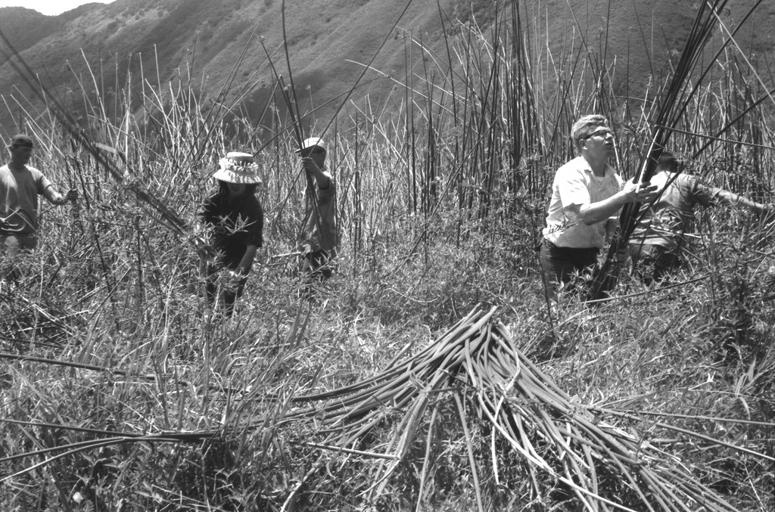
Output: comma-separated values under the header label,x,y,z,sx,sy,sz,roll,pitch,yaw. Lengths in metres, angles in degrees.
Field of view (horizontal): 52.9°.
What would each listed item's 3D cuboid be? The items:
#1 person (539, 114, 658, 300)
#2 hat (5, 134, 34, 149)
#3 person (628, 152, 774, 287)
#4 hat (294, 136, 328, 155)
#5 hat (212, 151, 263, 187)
label,x,y,z,sx,sy,sz,roll,pitch,yaw
person,1.207,-0.283,4.595,0.553,0.986,0.670,4,25,10
hat,-2.636,-0.817,5.595,0.156,0.136,0.125,-6,11,-31
person,1.792,-0.183,4.478,0.814,0.264,0.850,2,52,53
hat,-0.516,-0.728,5.181,0.224,0.120,0.169,4,-6,-26
hat,-0.885,-0.519,4.649,0.222,0.117,0.218,15,4,-28
